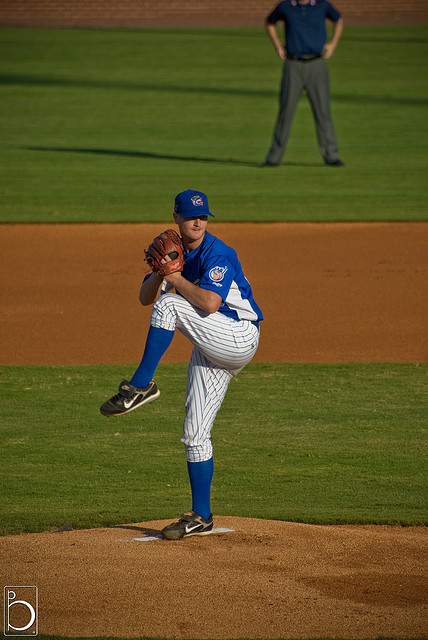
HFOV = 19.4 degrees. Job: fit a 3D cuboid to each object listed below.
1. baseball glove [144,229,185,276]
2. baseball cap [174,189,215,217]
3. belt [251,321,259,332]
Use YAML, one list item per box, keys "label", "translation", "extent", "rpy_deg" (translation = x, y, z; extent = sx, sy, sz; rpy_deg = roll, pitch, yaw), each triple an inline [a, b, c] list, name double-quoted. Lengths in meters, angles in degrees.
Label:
- label: "baseball glove"
  translation: [-0.265, -0.374, 6.749]
  extent: [0.108, 0.196, 0.244]
  rpy_deg: [-18, 28, 49]
- label: "baseball cap"
  translation: [-0.115, -0.637, 6.734]
  extent: [0.129, 0.109, 0.191]
  rpy_deg: [-10, 16, -36]
- label: "belt"
  translation: [0.230, 0.034, 6.865]
  extent: [0.051, 0.065, 0.069]
  rpy_deg: [-1, 6, 3]
